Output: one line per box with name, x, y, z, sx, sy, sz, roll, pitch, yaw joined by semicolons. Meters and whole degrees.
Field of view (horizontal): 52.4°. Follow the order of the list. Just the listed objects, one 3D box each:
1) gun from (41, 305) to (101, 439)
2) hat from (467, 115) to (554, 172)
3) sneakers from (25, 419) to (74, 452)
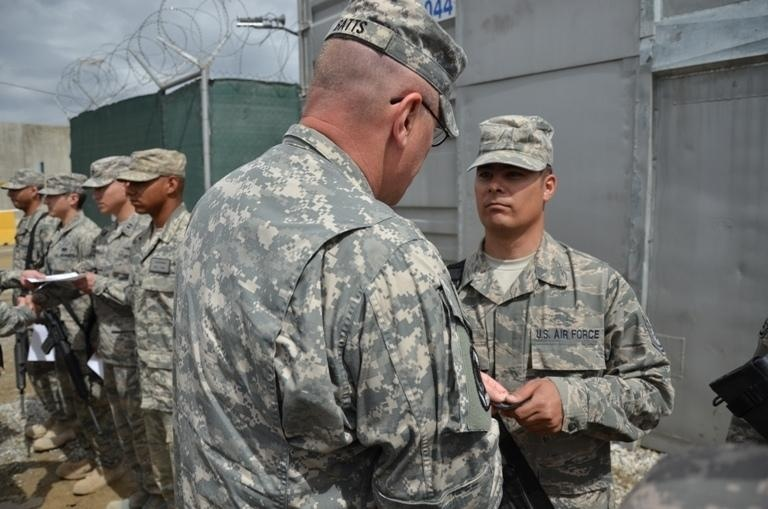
gun;-2.528;0.902;6.303;0.178;1.262;0.474;-4;-26;-45
hat;0.751;-0.638;4.454;0.315;0.227;0.414;1;7;35
sneakers;-2.920;1.578;6.824;0.235;0.125;0.323;11;2;31
